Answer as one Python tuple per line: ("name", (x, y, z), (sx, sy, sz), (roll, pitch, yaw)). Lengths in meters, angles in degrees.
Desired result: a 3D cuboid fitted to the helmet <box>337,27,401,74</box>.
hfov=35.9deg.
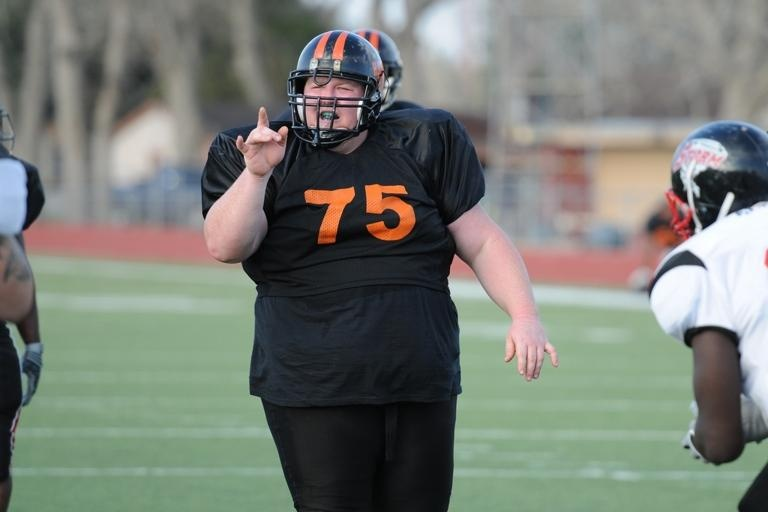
("helmet", (-0.077, -1.634, 9.448), (0.330, 0.377, 0.424), (3, 14, 19))
